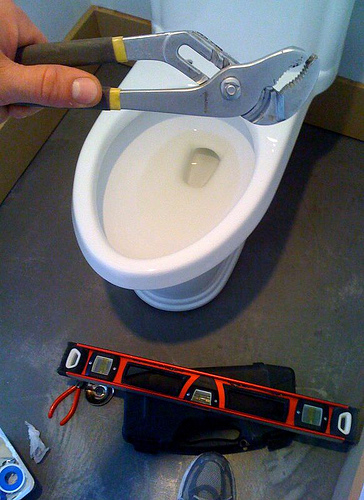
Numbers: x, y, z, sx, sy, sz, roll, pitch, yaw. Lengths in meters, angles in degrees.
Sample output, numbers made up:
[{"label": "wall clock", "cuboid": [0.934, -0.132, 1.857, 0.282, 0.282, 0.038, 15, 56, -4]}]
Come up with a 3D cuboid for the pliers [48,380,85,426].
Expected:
[{"label": "pliers", "cuboid": [-0.240, 0.328, 0.908, 0.048, 0.012, 0.107, 32, 78, 20]}]
